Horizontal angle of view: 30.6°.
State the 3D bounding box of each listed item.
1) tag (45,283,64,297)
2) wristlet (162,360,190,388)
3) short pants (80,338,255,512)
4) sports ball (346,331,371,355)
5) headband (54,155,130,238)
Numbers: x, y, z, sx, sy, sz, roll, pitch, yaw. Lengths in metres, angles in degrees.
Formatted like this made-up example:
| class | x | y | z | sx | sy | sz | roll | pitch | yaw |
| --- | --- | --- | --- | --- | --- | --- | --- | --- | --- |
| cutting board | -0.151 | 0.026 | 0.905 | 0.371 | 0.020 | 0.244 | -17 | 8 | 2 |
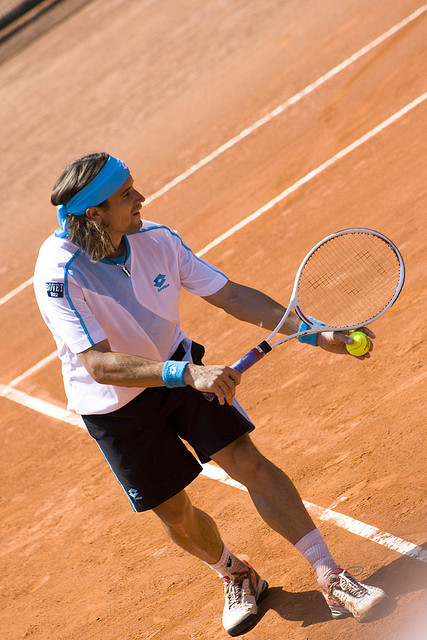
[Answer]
| class | x | y | z | sx | sy | sz | roll | pitch | yaw |
| --- | --- | --- | --- | --- | --- | --- | --- | --- | --- |
| tag | -0.715 | -0.133 | 3.456 | 0.059 | 0.061 | 0.052 | -3 | 4 | -9 |
| wristlet | -0.167 | 0.232 | 3.316 | 0.090 | 0.085 | 0.117 | -1 | 2 | -3 |
| short pants | -0.197 | 0.550 | 3.818 | 0.868 | 0.687 | 0.251 | -30 | 9 | -16 |
| sports ball | 0.715 | 0.116 | 3.824 | 0.123 | 0.109 | 0.108 | -16 | 38 | 2 |
| headband | -0.576 | -0.559 | 3.623 | 0.406 | 0.160 | 0.310 | -32 | 33 | 11 |
